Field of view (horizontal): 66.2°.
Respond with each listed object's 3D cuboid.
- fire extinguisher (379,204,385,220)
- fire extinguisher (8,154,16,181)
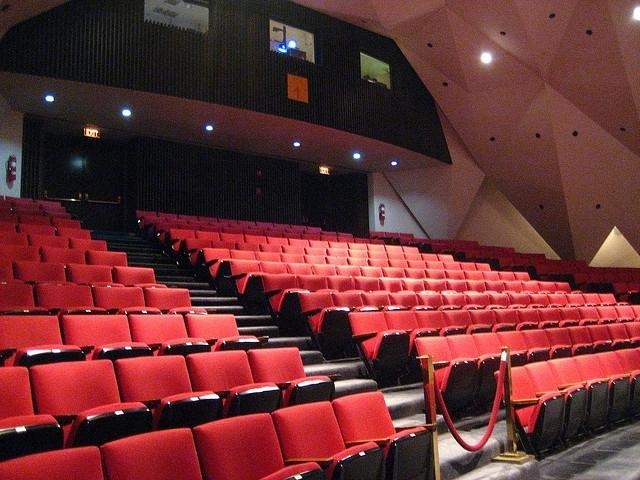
[{"bbox_3d":[1.104,-0.522,8.816,0.124,0.223,0.145,1,6,-9],"label":"fire extinguisher"},{"bbox_3d":[-3.619,-0.853,5.754,0.095,0.312,0.072,1,-8,-32],"label":"fire extinguisher"}]
